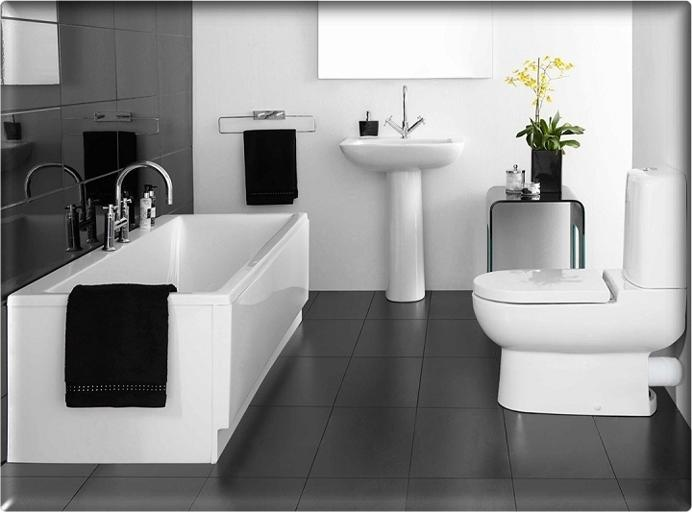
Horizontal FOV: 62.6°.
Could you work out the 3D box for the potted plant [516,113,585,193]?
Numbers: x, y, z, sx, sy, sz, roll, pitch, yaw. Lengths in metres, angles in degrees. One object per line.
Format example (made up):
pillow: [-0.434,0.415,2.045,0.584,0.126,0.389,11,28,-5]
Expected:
potted plant: [1.233,-0.646,3.674,0.297,0.483,0.369,8,-6,13]

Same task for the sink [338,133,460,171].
sink: [0.383,-0.681,3.815,0.779,0.224,0.351,2,13,12]

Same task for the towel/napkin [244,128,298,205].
towel/napkin: [-0.535,-0.654,4.063,0.484,0.667,0.067,0,5,3]

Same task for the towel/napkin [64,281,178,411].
towel/napkin: [-0.801,0.310,1.918,0.334,0.417,0.099,0,3,-2]

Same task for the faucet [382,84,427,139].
faucet: [0.408,-0.996,3.931,0.276,0.359,0.206,0,12,6]
